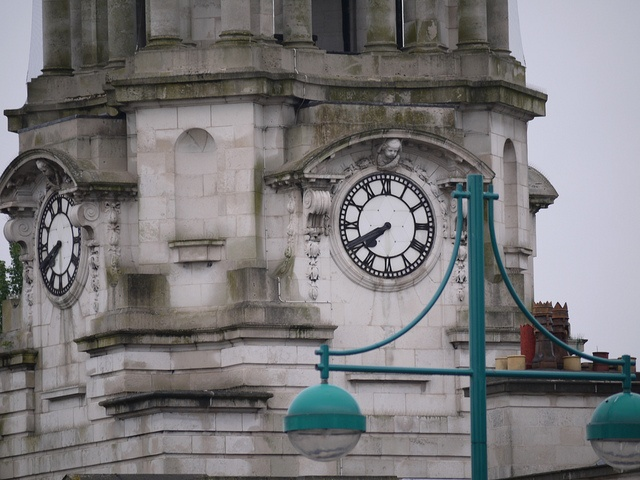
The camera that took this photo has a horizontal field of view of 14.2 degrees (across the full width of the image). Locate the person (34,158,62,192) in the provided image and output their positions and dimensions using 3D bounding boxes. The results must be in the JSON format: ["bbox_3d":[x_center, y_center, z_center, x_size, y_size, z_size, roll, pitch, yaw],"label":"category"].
[{"bbox_3d":[-7.824,-2.035,75.073,0.663,0.563,1.082,-15,-46,12],"label":"person"}]

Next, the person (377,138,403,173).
[{"bbox_3d":[1.914,-2.588,72.850,0.671,0.461,0.857,-15,-43,-31],"label":"person"}]
